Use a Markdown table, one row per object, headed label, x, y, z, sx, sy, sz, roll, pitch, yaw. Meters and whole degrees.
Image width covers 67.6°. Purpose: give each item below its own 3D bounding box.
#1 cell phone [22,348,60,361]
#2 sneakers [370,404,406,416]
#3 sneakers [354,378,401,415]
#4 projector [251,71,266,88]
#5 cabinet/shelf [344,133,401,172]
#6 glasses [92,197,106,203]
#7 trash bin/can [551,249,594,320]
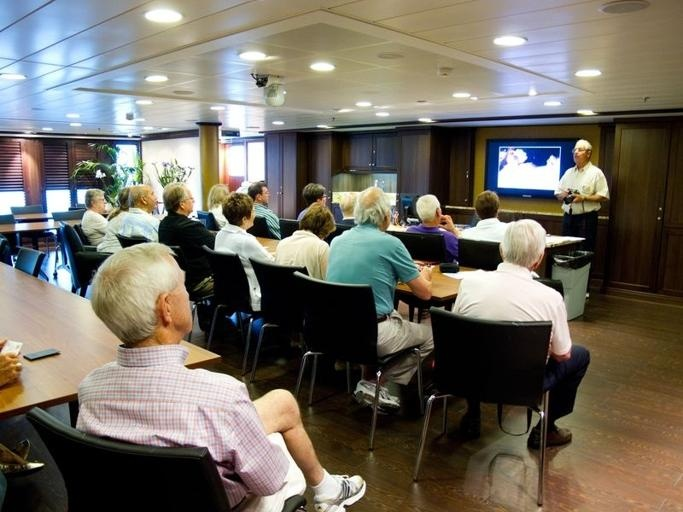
| label | x | y | z | sx | sy | sz | roll | pitch | yaw |
| --- | --- | --- | --- | --- | --- | --- | --- | --- | --- |
| cell phone | -1.339 | 0.434 | 2.279 | 0.140 | 0.016 | 0.103 | -9 | 15 | -36 |
| sneakers | 0.309 | 1.004 | 3.382 | 0.240 | 0.108 | 0.080 | -2 | 7 | 4 |
| sneakers | 0.239 | 0.863 | 3.304 | 0.163 | 0.353 | 0.148 | 3 | 44 | -49 |
| projector | -0.765 | -1.643 | 4.731 | 0.097 | 0.051 | 0.121 | 0 | 5 | -23 |
| cabinet/shelf | 0.731 | -2.074 | 10.286 | 1.228 | 0.791 | 0.471 | 6 | 7 | 37 |
| glasses | -3.101 | -0.715 | 6.510 | 0.120 | 0.045 | 0.091 | -6 | 8 | -38 |
| trash bin/can | 2.498 | 0.297 | 5.606 | 0.421 | 0.648 | 0.385 | -9 | 18 | -35 |
